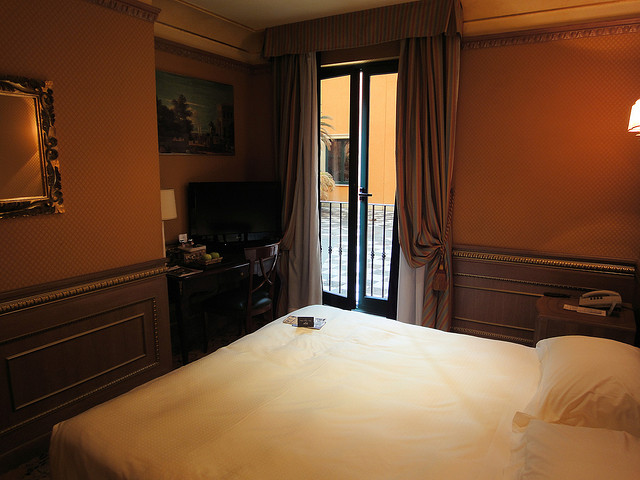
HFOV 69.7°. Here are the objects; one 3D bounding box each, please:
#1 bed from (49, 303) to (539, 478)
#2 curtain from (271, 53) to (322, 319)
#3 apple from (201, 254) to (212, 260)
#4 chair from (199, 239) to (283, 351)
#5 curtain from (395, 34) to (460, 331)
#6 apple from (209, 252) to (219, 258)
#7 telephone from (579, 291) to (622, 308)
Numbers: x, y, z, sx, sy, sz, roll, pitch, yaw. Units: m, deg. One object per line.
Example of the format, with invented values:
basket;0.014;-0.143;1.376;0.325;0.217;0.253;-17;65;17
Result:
bed;0.007;0.912;2.617;2.393;0.457;1.436;4;10;11
curtain;-0.247;-0.497;4.753;0.682;2.716;0.224;6;11;26
apple;-0.976;0.143;3.932;0.055;0.036;0.046;10;15;14
chair;-0.709;0.516;4.258;0.590;0.977;0.644;3;5;9
curtain;0.934;-0.485;4.085;0.574;2.553;0.310;3;10;9
apple;-0.916;0.132;4.010;0.044;0.036;0.058;2;7;5
telephone;2.047;0.431;3.352;0.195;0.097;0.157;4;9;31
